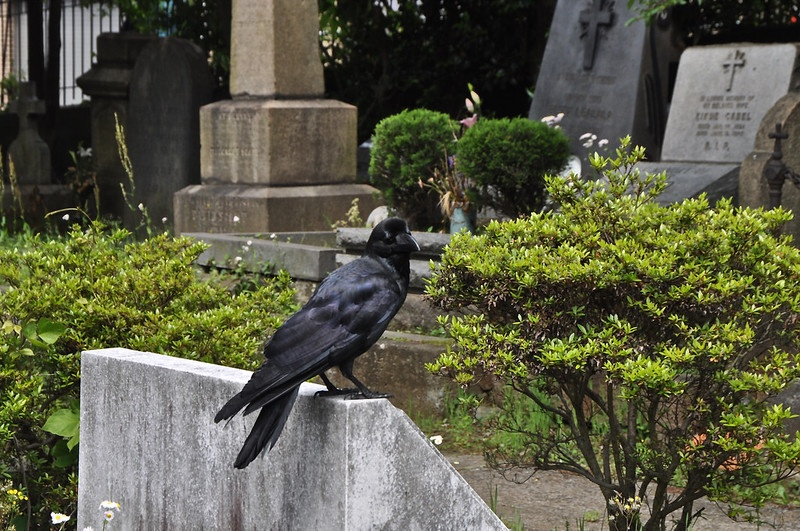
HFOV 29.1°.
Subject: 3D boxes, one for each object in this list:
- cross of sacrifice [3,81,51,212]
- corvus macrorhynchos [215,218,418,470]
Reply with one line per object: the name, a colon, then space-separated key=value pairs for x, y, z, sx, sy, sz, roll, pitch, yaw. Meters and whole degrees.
cross of sacrifice: x=-5.492 y=-1.835 z=23.320 sx=0.621 sy=1.788 sz=2.299 roll=1 pitch=9 yaw=-13
corvus macrorhynchos: x=-0.708 y=0.601 z=13.267 sx=1.624 sy=2.081 sz=0.768 roll=-2 pitch=9 yaw=-21
